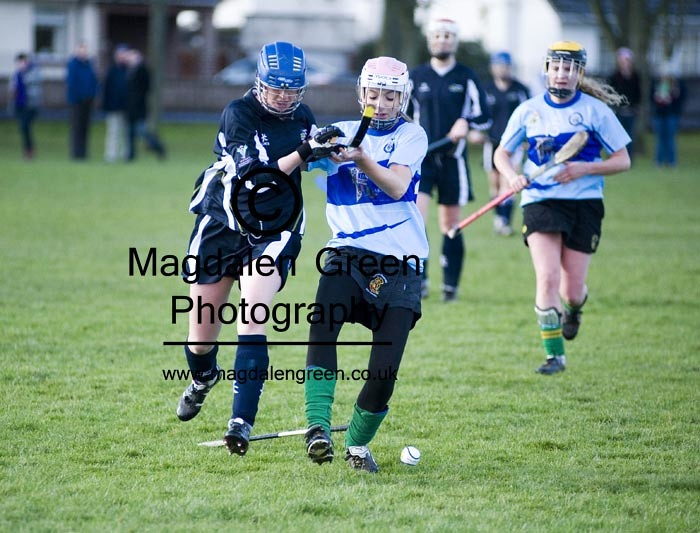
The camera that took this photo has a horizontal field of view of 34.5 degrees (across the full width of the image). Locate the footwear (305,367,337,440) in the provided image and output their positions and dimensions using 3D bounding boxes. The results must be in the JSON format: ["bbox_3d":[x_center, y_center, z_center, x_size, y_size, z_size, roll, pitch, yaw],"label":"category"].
[{"bbox_3d":[-0.199,0.949,7.092,0.171,0.587,0.173,21,-40,-26],"label":"footwear"}]

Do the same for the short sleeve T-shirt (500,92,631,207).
[{"bbox_3d":[1.671,-0.973,8.892,0.947,0.961,0.564,3,27,21],"label":"short sleeve T-shirt"}]

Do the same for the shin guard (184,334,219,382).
[{"bbox_3d":[-1.025,0.634,7.724,0.219,0.244,0.213,-2,11,-10],"label":"shin guard"}]

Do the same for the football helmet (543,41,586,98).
[{"bbox_3d":[1.680,-1.495,8.753,0.280,0.432,0.394,2,0,28],"label":"football helmet"}]

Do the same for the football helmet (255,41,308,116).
[{"bbox_3d":[-0.453,-1.209,7.362,0.329,0.507,0.484,2,10,-15],"label":"football helmet"}]

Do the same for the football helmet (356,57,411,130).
[{"bbox_3d":[0.236,-1.178,7.365,0.295,0.444,0.448,4,38,6],"label":"football helmet"}]

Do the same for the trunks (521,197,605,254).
[{"bbox_3d":[1.663,-0.141,8.882,0.609,0.679,0.379,2,-3,-19],"label":"trunks"}]

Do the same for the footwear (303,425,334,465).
[{"bbox_3d":[-0.200,1.099,6.988,0.101,0.295,0.147,-3,51,-4],"label":"footwear"}]

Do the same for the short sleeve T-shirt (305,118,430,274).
[{"bbox_3d":[0.099,-0.466,7.303,0.694,1.070,0.489,1,-14,11],"label":"short sleeve T-shirt"}]

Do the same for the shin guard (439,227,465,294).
[{"bbox_3d":[1.012,-0.027,11.285,0.212,0.641,0.336,2,12,5],"label":"shin guard"}]
